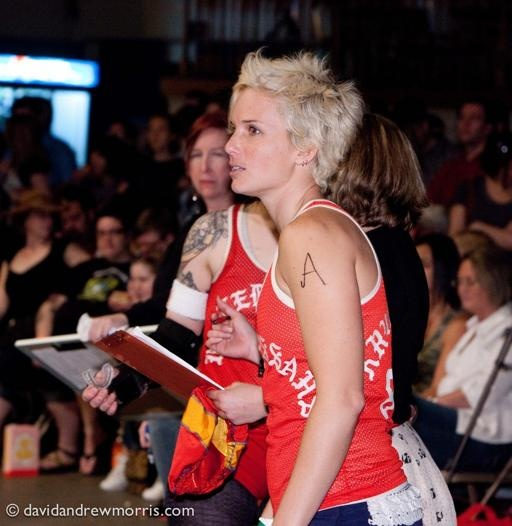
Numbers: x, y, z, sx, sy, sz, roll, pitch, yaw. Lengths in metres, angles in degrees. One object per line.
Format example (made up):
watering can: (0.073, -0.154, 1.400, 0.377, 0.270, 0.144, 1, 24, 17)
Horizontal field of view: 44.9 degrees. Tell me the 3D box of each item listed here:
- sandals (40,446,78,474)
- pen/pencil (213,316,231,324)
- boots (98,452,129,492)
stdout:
sandals: (-1.274, 1.281, 3.998, 0.231, 0.118, 0.177, 3, 17, -12)
pen/pencil: (-0.083, 0.139, 1.519, 0.025, 0.013, 0.012, 3, 26, -37)
boots: (-0.826, 1.250, 3.689, 0.146, 0.143, 0.224, 9, 17, 7)
